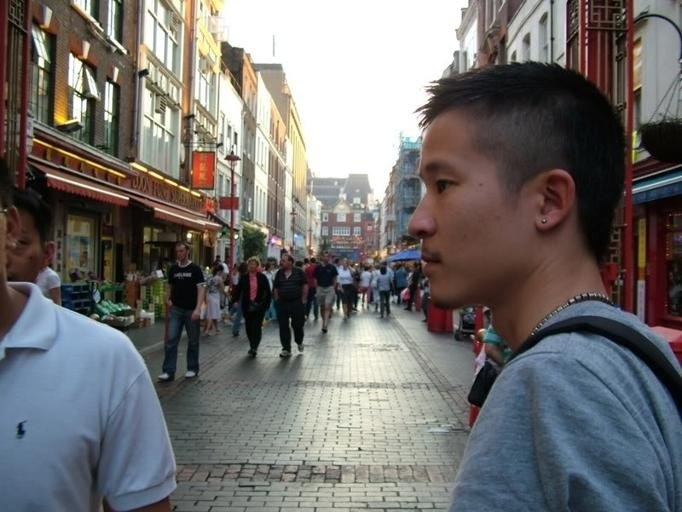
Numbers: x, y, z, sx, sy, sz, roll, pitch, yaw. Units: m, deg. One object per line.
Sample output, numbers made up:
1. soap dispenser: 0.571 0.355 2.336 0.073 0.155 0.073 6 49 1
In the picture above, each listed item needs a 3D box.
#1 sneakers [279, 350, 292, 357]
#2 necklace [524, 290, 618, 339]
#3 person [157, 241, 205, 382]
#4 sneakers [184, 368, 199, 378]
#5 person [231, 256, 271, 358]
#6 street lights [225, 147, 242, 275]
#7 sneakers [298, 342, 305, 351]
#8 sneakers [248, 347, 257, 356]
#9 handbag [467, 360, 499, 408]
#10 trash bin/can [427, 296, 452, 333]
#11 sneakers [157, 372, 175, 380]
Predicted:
1. sneakers: -1.062 1.850 11.742 0.184 0.122 0.271 1 -1 -1
2. necklace: 0.433 0.109 1.171 0.228 0.084 0.094 1 -1 -25
3. person: -2.539 0.816 9.540 0.716 2.128 0.630 2 -5 -39
4. sneakers: -2.290 1.795 9.405 0.193 0.095 0.338 1 -1 -11
5. person: -1.783 0.980 12.284 0.711 1.848 1.517 1 -1 -12
6. street lights: -4.573 -2.023 25.876 0.625 4.795 0.597 1 -1 -35
7. sneakers: -0.812 1.817 12.383 0.146 0.212 0.456 0 -5 -4
8. sneakers: -1.674 1.828 11.671 0.155 0.193 0.107 0 2 5
9. handbag: 0.511 0.458 2.202 0.076 0.163 0.105 19 2 25
10. trash bin/can: 2.679 1.624 16.812 0.922 0.895 0.925 7 -8 -37
11. sneakers: -2.579 1.782 9.071 0.095 0.114 0.233 -6 -16 33
